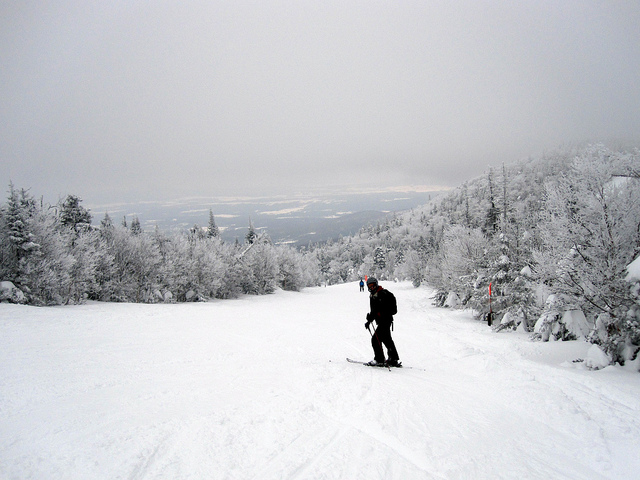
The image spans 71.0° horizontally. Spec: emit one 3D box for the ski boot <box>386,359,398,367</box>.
[{"bbox_3d":[2.493,4.217,15.284,0.231,0.257,0.067,0,-2,1],"label":"ski boot"}]

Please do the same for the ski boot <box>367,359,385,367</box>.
[{"bbox_3d":[1.938,4.256,15.441,0.600,0.306,0.228,3,-14,9],"label":"ski boot"}]
